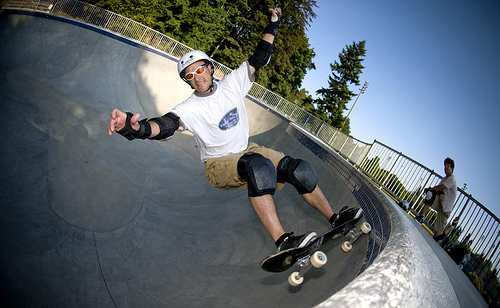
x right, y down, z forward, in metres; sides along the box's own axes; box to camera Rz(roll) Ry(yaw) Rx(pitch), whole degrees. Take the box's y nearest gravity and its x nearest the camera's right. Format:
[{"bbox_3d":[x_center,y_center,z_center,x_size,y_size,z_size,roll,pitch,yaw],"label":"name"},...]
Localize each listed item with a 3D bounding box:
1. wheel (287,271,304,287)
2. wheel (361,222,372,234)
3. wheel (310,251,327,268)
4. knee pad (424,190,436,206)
[{"bbox_3d":[0.587,1.600,3.988,0.168,0.103,0.185,5,56,-8],"label":"wheel"},{"bbox_3d":[1.480,0.927,3.966,0.102,0.073,0.111,5,53,-7],"label":"wheel"},{"bbox_3d":[0.830,1.301,3.825,0.178,0.109,0.190,12,46,-12],"label":"wheel"},{"bbox_3d":[4.499,1.086,7.730,0.191,0.353,0.098,6,-2,7],"label":"knee pad"}]
